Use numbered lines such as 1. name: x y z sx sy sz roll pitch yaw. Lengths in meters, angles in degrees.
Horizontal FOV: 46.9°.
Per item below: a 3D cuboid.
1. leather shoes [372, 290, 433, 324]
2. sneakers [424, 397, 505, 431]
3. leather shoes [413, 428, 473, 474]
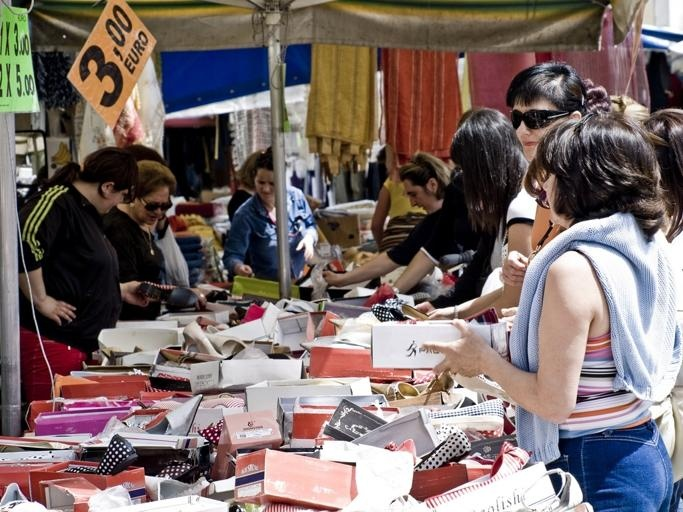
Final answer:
1. leather shoes: 0.215 0.206 2.873 0.137 0.050 0.099 28 -4 -17
2. sneakers: 0.380 0.512 2.460 0.251 0.100 0.093 -6 25 5
3. leather shoes: 0.276 0.533 2.162 0.113 0.049 0.117 -23 10 5
